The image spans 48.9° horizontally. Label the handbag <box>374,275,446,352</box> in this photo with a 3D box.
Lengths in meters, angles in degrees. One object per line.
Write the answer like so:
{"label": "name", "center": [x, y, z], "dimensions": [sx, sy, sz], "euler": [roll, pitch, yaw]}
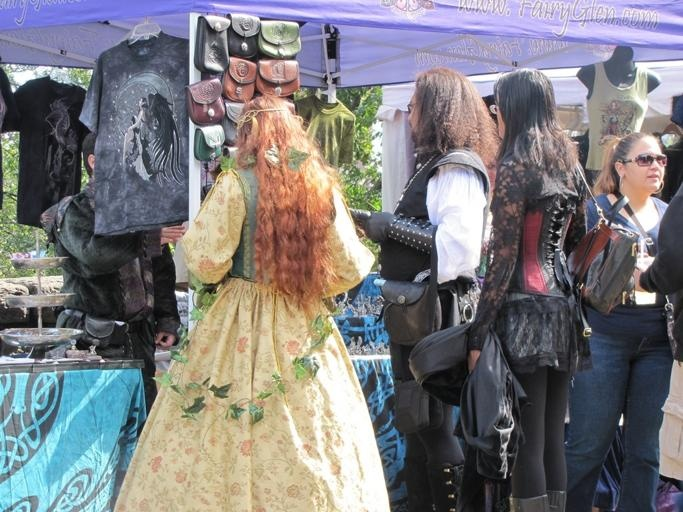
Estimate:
{"label": "handbag", "center": [0.355, 0.283, 3.730], "dimensions": [0.443, 0.467, 0.205], "euler": [3, 10, 38]}

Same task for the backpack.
{"label": "backpack", "center": [1.232, 0.048, 3.569], "dimensions": [0.194, 0.381, 0.348], "euler": [14, 39, -25]}

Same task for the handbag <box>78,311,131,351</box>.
{"label": "handbag", "center": [-1.322, 0.417, 4.150], "dimensions": [0.169, 0.112, 0.229], "euler": [0, -13, 20]}
